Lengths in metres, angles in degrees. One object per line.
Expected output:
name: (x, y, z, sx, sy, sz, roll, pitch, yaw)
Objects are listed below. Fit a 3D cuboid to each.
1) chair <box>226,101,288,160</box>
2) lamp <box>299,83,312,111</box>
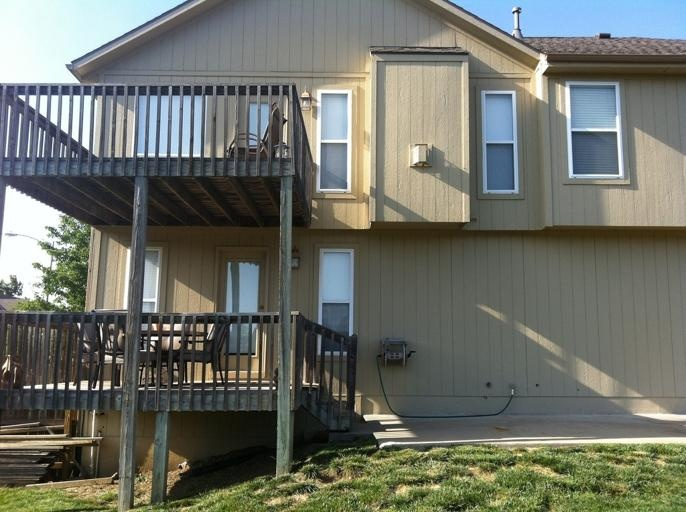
chair: (-1.600, -2.254, 13.187, 1.063, 1.026, 3.763, -4, 2, -5)
lamp: (-0.775, -3.336, 14.958, 0.285, 0.504, 0.126, -4, 1, -14)
